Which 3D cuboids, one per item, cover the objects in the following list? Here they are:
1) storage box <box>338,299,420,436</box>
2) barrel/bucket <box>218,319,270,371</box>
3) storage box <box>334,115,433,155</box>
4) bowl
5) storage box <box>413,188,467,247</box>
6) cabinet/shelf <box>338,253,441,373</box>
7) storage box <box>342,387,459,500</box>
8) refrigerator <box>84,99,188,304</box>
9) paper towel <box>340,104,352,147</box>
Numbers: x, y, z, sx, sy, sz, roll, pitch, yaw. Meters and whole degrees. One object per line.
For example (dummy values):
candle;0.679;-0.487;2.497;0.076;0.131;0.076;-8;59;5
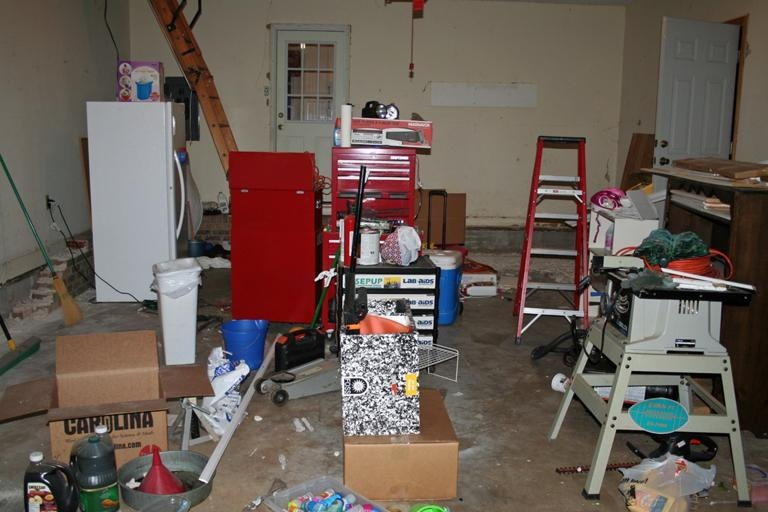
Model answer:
storage box;-0.031;0.686;3.760;0.388;0.491;0.702;-1;29;1
barrel/bucket;-1.117;0.660;4.898;0.373;0.328;0.374;2;9;0
storage box;0.055;-1.119;5.693;0.734;0.275;0.234;-2;15;-1
bowl;-1.284;1.346;3.665;0.507;0.242;0.474;-2;15;0
storage box;0.648;-0.445;7.452;0.834;0.792;0.436;0;2;-6
cabinet/shelf;0.037;0.413;4.886;0.803;0.778;0.775;0;9;-5
storage box;0.117;1.134;3.784;0.471;0.232;0.638;0;13;1
refrigerator;-2.527;-0.526;6.242;0.851;1.972;0.396;-2;16;0
paper towel;-0.349;-1.172;5.613;0.116;0.362;0.099;-5;16;-10
